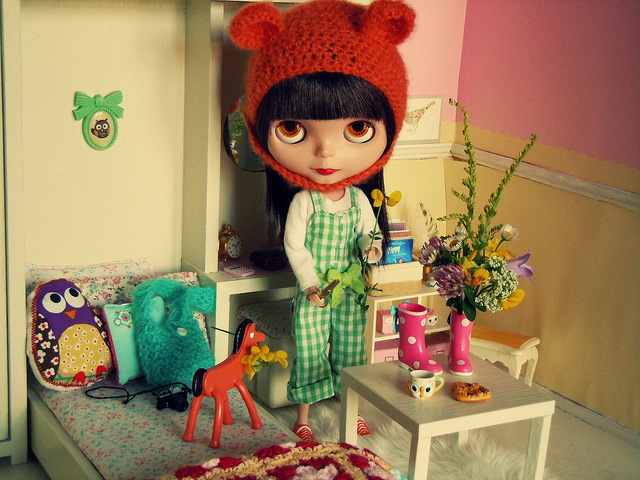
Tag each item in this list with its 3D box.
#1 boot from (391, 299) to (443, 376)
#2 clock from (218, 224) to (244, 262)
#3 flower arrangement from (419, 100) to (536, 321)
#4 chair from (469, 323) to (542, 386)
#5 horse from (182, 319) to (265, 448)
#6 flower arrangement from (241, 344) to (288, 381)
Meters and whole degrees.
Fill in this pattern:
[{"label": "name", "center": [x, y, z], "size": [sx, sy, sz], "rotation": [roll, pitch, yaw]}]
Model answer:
[{"label": "boot", "center": [0.419, 0.437, 2.141], "size": [0.240, 0.263, 0.103], "rotation": [12, 10, 41]}, {"label": "clock", "center": [-0.519, 0.024, 2.861], "size": [0.086, 0.229, 0.165], "rotation": [6, 11, 37]}, {"label": "flower arrangement", "center": [0.670, -0.101, 2.123], "size": [0.459, 0.941, 0.500], "rotation": [6, 13, 24]}, {"label": "chair", "center": [1.124, 0.757, 3.114], "size": [0.301, 0.458, 0.438], "rotation": [7, 17, 28]}, {"label": "horse", "center": [-0.400, 0.572, 2.039], "size": [0.332, 0.473, 0.166], "rotation": [-10, 16, -42]}, {"label": "flower arrangement", "center": [-0.220, 0.475, 2.045], "size": [0.177, 0.102, 0.178], "rotation": [1, -7, 15]}]
